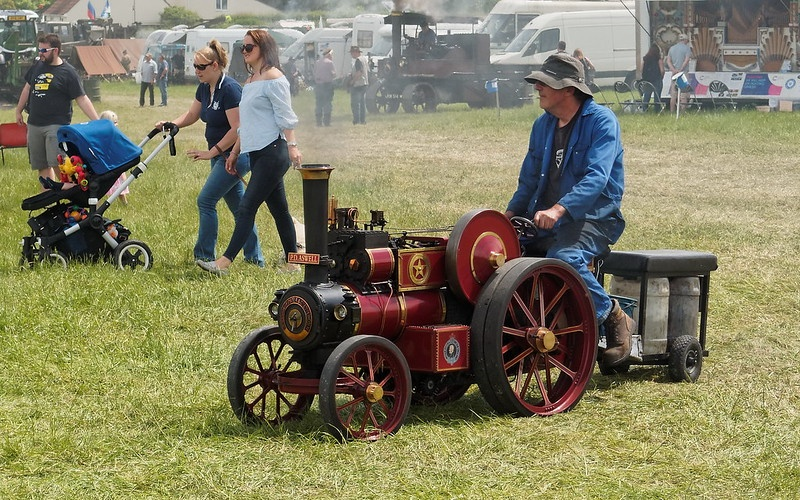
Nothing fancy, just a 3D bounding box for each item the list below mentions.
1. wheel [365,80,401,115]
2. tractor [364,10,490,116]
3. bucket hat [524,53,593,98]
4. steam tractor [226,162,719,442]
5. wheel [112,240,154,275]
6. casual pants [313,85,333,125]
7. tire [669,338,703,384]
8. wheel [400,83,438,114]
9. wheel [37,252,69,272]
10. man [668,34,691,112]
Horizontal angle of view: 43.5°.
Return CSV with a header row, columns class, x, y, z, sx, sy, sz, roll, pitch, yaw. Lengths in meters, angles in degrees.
class,x,y,z,sx,sy,sz,roll,pitch,yaw
wheel,-0.547,-4.482,29.418,0.923,0.991,0.319,-9,17,-37
tractor,1.119,-5.533,30.459,4.176,2.757,2.210,-9,12,-40
bucket hat,1.522,-1.668,9.561,0.483,0.267,0.405,0,18,-10
steam tractor,0.680,0.427,9.911,4.807,2.474,2.021,-1,0,-33
wheel,-3.260,0.089,12.215,0.376,0.408,0.148,1,-1,-28
casual pants,-1.949,-3.695,25.726,0.455,1.057,1.002,-1,8,-5
tire,2.756,1.067,9.783,0.362,0.390,0.156,-7,1,-37
wheel,0.539,-4.487,29.629,0.812,0.874,0.332,-6,13,-34
wheel,-4.152,0.113,11.968,0.418,0.159,0.355,-1,9,-5
man,7.079,-4.478,25.760,0.619,1.881,2.863,2,9,16
